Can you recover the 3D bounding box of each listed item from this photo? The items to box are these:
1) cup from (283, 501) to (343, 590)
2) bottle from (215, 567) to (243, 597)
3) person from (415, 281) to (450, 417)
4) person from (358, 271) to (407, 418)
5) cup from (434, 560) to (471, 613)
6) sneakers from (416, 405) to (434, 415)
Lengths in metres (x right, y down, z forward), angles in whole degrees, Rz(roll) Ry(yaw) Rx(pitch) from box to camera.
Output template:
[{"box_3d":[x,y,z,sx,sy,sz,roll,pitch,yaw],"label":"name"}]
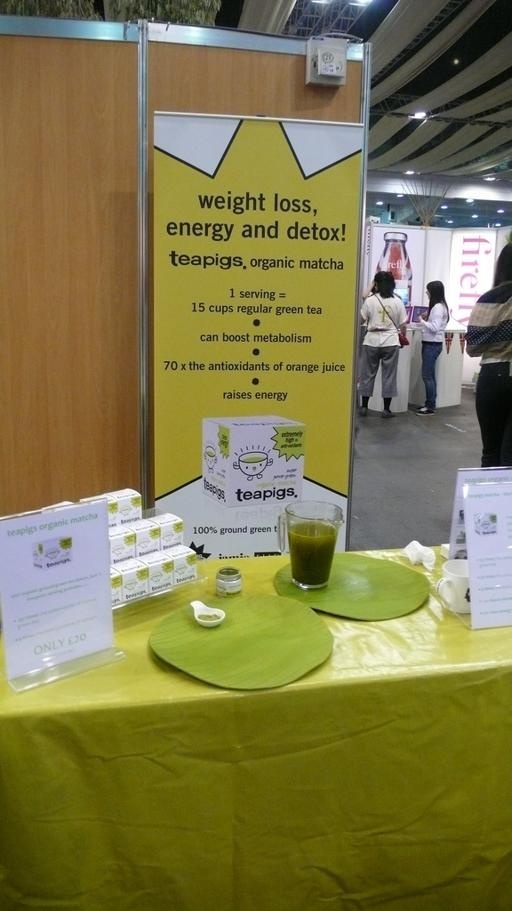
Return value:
[{"box_3d":[0.081,0.126,1.056,0.088,0.136,0.114,-7,13,-34],"label":"cup"},{"box_3d":[-0.042,0.185,0.987,0.031,0.037,0.034,0,7,-2],"label":"bottle"},{"box_3d":[1.756,-1.072,6.857,0.247,1.296,0.582,4,9,14],"label":"person"},{"box_3d":[1.240,-1.083,6.709,0.429,1.355,0.761,3,9,11],"label":"person"},{"box_3d":[0.279,0.186,0.957,0.041,0.057,0.069,11,22,34],"label":"cup"},{"box_3d":[1.693,-0.449,6.851,0.159,0.082,0.081,7,4,-4],"label":"sneakers"}]
